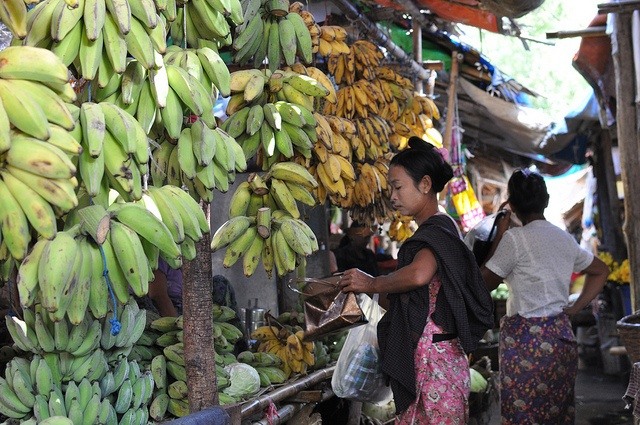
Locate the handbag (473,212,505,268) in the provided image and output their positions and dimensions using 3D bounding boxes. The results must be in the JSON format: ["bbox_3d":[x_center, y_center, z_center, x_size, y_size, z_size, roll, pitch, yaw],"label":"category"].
[{"bbox_3d":[1.052,0.182,4.075,0.141,0.393,0.280,22,0,7],"label":"handbag"}]
